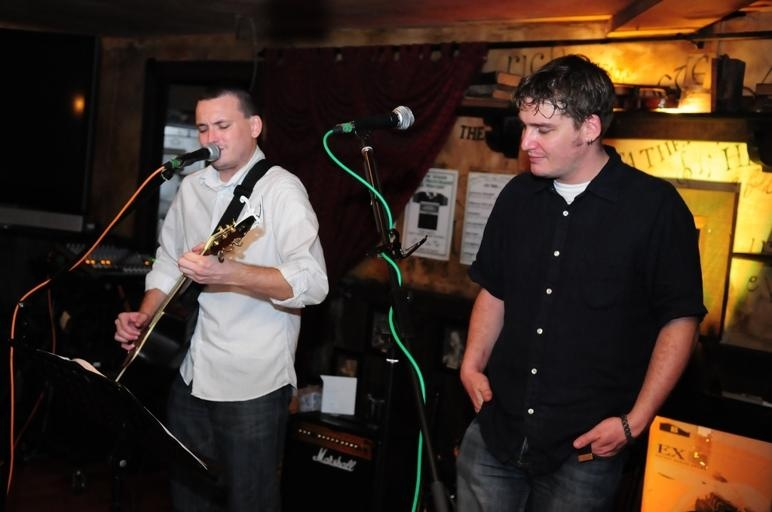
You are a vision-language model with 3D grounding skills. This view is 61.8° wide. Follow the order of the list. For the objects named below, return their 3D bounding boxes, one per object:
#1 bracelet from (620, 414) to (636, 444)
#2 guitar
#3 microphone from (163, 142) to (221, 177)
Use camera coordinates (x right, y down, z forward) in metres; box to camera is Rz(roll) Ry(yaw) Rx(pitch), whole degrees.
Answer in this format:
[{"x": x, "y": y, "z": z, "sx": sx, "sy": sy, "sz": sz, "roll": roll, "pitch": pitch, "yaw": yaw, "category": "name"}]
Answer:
[{"x": 0.931, "y": 0.677, "z": 2.496, "sx": 0.062, "sy": 0.117, "sz": 0.042, "roll": 8, "pitch": 13, "yaw": 22, "category": "bracelet"}, {"x": -0.896, "y": 0.192, "z": 2.782, "sx": 0.702, "sy": 0.810, "sz": 0.341, "roll": 13, "pitch": 16, "yaw": 38, "category": "guitar"}, {"x": -0.848, "y": -0.411, "z": 2.830, "sx": 0.196, "sy": 0.157, "sz": 0.340, "roll": 4, "pitch": 12, "yaw": 2, "category": "microphone"}]
